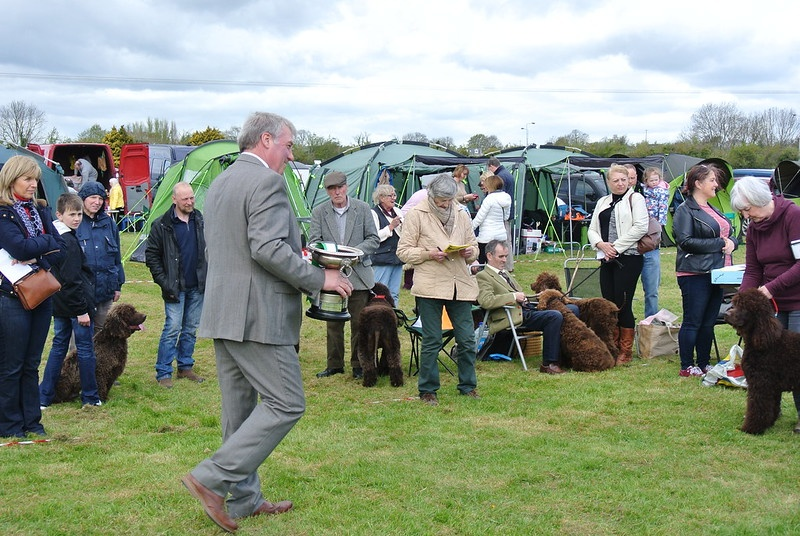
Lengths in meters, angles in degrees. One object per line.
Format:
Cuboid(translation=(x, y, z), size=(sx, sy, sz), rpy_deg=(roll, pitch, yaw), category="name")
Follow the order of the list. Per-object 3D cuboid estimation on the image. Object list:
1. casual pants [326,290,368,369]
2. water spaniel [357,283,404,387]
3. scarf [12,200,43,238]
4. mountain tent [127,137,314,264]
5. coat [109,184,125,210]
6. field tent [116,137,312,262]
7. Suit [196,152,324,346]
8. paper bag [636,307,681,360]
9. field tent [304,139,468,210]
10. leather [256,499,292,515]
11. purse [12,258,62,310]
Cuboid(translation=(-0.620, 0.713, 8.629), size=(0.323, 1.026, 1.024), rpy_deg=(5, -5, -4), category="casual pants")
Cuboid(translation=(-0.273, 0.860, 9.132), size=(0.454, 0.848, 1.423), rpy_deg=(-2, 16, -2), category="water spaniel")
Cuboid(translation=(-3.687, -0.473, 7.375), size=(0.082, 0.332, 0.210), rpy_deg=(-27, -9, 31), category="scarf")
Cuboid(translation=(-4.225, -1.493, 16.592), size=(3.171, 1.733, 3.412), rpy_deg=(-1, 2, -7), category="mountain tent")
Cuboid(translation=(-7.966, -1.955, 20.883), size=(0.457, 0.714, 0.793), rpy_deg=(3, 6, -6), category="coat")
Cuboid(translation=(-4.307, -1.819, 16.390), size=(3.126, 1.761, 3.479), rpy_deg=(-1, 2, -17), category="field tent")
Cuboid(translation=(-1.134, -0.111, 5.951), size=(0.906, 1.451, 0.498), rpy_deg=(3, 14, 14), category="Suit")
Cuboid(translation=(3.609, 0.914, 10.210), size=(0.508, 0.639, 0.647), rpy_deg=(4, -7, -17), category="paper bag")
Cuboid(translation=(-0.824, -2.404, 18.348), size=(3.538, 1.316, 3.467), rpy_deg=(-3, 3, -35), category="field tent")
Cuboid(translation=(-1.062, 1.985, 6.304), size=(0.301, 0.119, 0.102), rpy_deg=(-5, 12, -17), category="leather")
Cuboid(translation=(-3.587, 0.150, 7.311), size=(0.440, 0.352, 0.158), rpy_deg=(-36, 16, -23), category="purse")
